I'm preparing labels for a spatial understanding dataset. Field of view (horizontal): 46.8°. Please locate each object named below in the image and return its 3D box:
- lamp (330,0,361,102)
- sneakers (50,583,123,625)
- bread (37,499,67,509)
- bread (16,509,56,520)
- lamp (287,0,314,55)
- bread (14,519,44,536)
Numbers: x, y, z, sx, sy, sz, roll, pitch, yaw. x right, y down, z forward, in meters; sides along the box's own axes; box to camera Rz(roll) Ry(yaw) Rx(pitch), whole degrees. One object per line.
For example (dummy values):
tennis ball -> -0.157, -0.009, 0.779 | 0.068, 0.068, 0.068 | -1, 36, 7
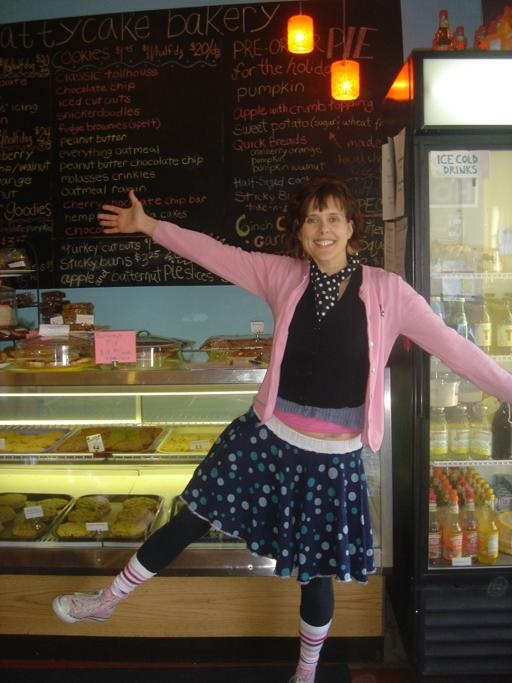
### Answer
lamp -> 0.468, -1.548, 3.096 | 0.152, 0.643, 0.387 | 1, 3, 9
sneakers -> -0.550, 0.866, 2.005 | 0.252, 0.110, 0.161 | 13, -44, -27
bread -> -0.838, 0.663, 2.419 | 0.054, 0.014, 0.066 | 0, 5, -4
bread -> -0.857, 0.662, 2.322 | 0.113, 0.022, 0.078 | -3, 22, 3
lamp -> 0.220, -1.566, 3.020 | 0.121, 0.197, 0.209 | 1, 3, 7
bread -> -0.881, 0.723, 2.286 | 0.114, 0.048, 0.101 | 0, 3, -13
